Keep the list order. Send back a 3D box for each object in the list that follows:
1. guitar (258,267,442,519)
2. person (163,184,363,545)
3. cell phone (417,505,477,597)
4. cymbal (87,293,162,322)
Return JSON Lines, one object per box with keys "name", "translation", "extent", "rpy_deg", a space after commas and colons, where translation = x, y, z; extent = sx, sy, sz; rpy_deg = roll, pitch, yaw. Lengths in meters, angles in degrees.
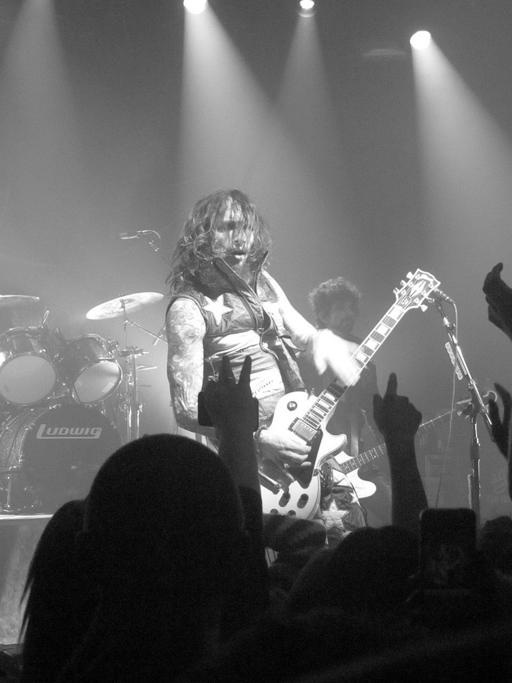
{"name": "guitar", "translation": [0.362, 0.297, 3.864], "extent": [0.699, 0.218, 1.916], "rpy_deg": [-2, -39, -15]}
{"name": "person", "translation": [-0.052, 0.028, 4.257], "extent": [1.024, 1.920, 0.318], "rpy_deg": [-9, -8, -12]}
{"name": "cell phone", "translation": [0.269, 0.313, 1.054], "extent": [0.104, 0.123, 0.076], "rpy_deg": [4, -8, -22]}
{"name": "cymbal", "translation": [-0.815, -0.216, 4.288], "extent": [0.250, 0.054, 0.245], "rpy_deg": [-25, -24, 17]}
